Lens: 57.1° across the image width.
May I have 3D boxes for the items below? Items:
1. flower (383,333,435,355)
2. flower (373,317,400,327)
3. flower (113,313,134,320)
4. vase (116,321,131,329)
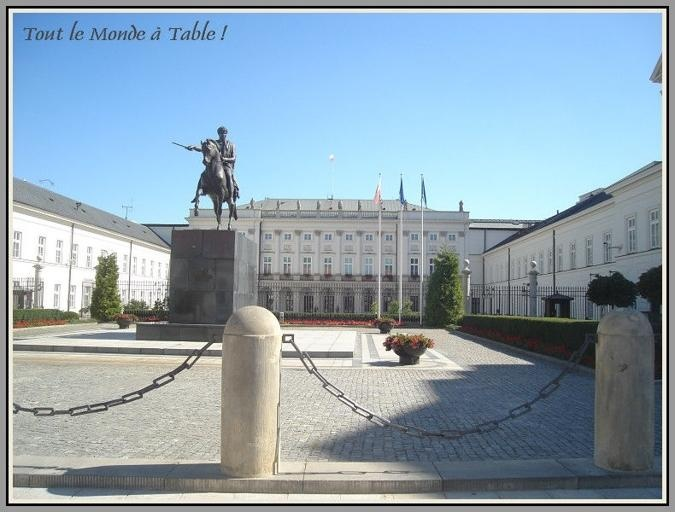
[{"bbox_3d":[1.812,2.242,15.925,1.202,0.494,0.702,0,-4,19],"label":"flower"},{"bbox_3d":[2.551,3.480,33.046,1.048,0.617,1.115,2,-7,2],"label":"flower"},{"bbox_3d":[-9.810,2.788,28.759,0.588,0.351,0.635,2,-7,-2],"label":"flower"},{"bbox_3d":[-9.841,3.106,28.658,0.426,0.325,0.427,5,-4,-39],"label":"vase"}]
